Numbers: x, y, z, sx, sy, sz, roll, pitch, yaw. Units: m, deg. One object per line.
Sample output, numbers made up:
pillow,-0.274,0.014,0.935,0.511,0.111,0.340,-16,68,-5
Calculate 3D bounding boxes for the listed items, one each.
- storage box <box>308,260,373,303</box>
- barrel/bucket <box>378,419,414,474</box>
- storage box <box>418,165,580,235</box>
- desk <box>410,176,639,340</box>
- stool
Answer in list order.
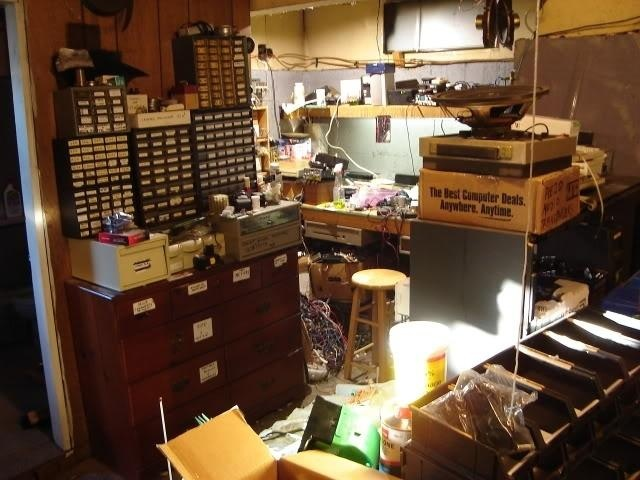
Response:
storage box,0.122,0.417,5.170,0.431,0.373,0.442,-2,-15,6
barrel/bucket,0.283,0.815,2.007,0.143,0.255,0.089,9,19,28
storage box,0.930,-0.221,2.601,0.719,0.251,0.780,5,14,26
desk,1.023,-0.247,2.574,0.671,0.905,1.276,9,18,40
stool,0.289,0.612,3.713,0.504,0.741,0.516,19,-23,-24
